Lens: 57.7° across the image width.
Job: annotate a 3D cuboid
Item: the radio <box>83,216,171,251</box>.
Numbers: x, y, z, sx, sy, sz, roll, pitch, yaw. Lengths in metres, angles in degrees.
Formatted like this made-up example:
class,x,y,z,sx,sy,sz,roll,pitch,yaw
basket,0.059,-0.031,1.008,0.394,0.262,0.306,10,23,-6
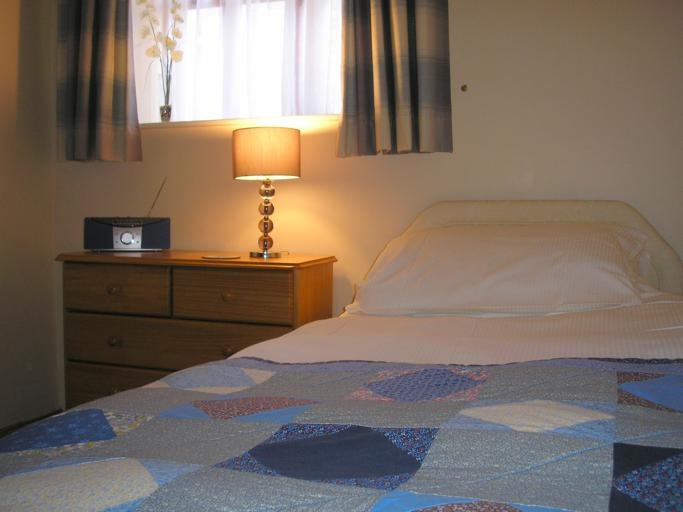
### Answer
class,x,y,z,sx,sy,sz,roll,pitch,yaw
radio,-0.931,-0.109,2.769,0.344,0.157,0.165,-1,5,-24

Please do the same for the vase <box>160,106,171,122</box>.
class,x,y,z,sx,sy,sz,roll,pitch,yaw
vase,-0.862,-0.692,3.034,0.059,0.078,0.040,1,5,1

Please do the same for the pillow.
class,x,y,z,sx,sy,sz,roll,pitch,yaw
pillow,0.547,0.024,2.080,1.054,0.301,0.505,2,8,7

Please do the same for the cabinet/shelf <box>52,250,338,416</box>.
class,x,y,z,sx,sy,sz,roll,pitch,yaw
cabinet/shelf,-0.587,0.204,2.764,1.068,0.635,0.646,3,5,21
